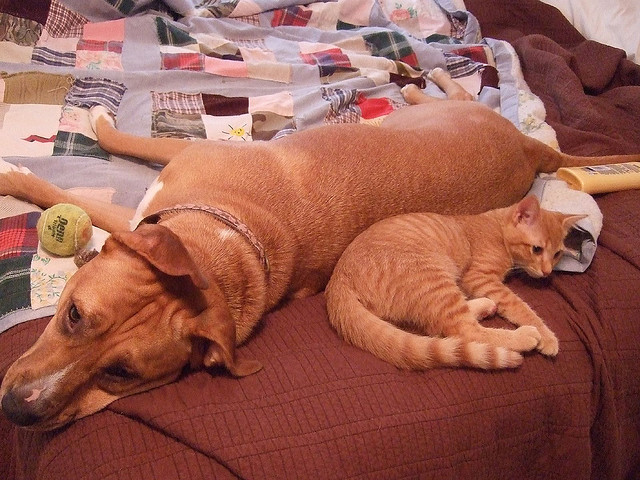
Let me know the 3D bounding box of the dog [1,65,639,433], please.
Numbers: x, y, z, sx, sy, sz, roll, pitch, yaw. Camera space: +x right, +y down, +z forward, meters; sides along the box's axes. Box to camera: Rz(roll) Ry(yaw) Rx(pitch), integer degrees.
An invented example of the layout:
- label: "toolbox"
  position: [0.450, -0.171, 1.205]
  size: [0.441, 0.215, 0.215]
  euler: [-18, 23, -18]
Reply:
- label: "dog"
  position: [0.121, -0.066, 1.874]
  size: [2.214, 0.836, 0.900]
  euler: [-35, 23, -21]

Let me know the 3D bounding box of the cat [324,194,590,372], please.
- label: "cat"
  position: [0.391, 0.197, 1.623]
  size: [0.728, 0.304, 0.558]
  euler: [-2, 32, 4]
